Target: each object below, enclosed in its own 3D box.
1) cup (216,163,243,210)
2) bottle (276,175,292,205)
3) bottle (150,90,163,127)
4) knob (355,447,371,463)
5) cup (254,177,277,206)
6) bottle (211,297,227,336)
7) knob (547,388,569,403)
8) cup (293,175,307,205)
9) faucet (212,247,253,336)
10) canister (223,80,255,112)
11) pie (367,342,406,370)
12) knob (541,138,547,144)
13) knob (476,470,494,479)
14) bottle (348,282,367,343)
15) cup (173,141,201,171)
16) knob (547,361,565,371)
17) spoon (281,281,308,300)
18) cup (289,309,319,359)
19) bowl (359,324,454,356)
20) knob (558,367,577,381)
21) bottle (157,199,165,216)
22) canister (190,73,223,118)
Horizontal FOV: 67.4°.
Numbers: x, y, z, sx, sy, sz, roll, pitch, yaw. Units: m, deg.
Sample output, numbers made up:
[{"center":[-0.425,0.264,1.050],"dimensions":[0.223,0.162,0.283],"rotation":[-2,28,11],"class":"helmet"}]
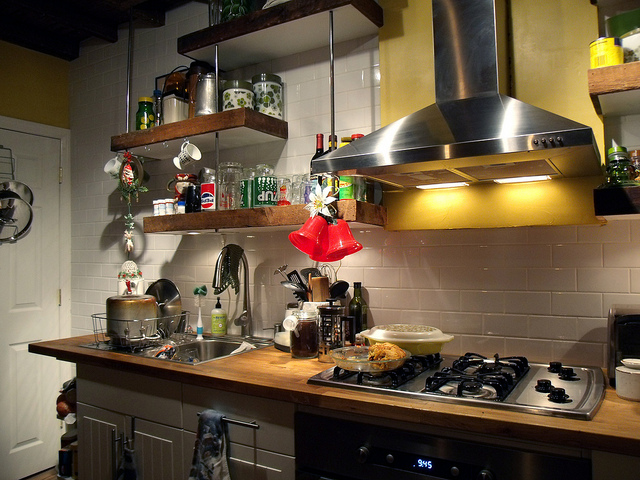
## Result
[{"center":[-0.521,-0.309,2.772],"dimensions":[0.146,0.191,0.159],"rotation":[-3,-1,0],"class":"cup"},{"center":[-0.201,-0.277,2.683],"dimensions":[0.116,0.178,0.109],"rotation":[2,6,0],"class":"bottle"},{"center":[-1.051,-0.851,3.101],"dimensions":[0.053,0.262,0.194],"rotation":[-2,-1,-20],"class":"bottle"},{"center":[0.159,0.801,1.807],"dimensions":[0.057,0.054,0.059],"rotation":[-6,1,24],"class":"knob"},{"center":[-0.315,-0.265,2.620],"dimensions":[0.154,0.163,0.151],"rotation":[0,1,0],"class":"cup"},{"center":[-0.636,0.483,2.995],"dimensions":[0.089,0.165,0.074],"rotation":[-3,-1,-11],"class":"bottle"},{"center":[0.878,0.574,1.760],"dimensions":[0.054,0.016,0.054],"rotation":[-1,3,5],"class":"knob"},{"center":[-0.104,-0.282,2.580],"dimensions":[0.063,0.128,0.195],"rotation":[-2,-1,-16],"class":"cup"},{"center":[-0.523,0.317,2.896],"dimensions":[0.157,0.395,0.254],"rotation":[-3,-1,15],"class":"faucet"},{"center":[-0.470,-0.834,2.845],"dimensions":[0.197,0.169,0.191],"rotation":[1,0,6],"class":"canister"},{"center":[0.281,0.496,2.021],"dimensions":[0.159,0.092,0.140],"rotation":[-3,-1,7],"class":"pie"},{"center":[0.799,-0.356,1.714],"dimensions":[0.019,0.018,0.006],"rotation":[-6,-4,30],"class":"knob"},{"center":[0.561,0.802,1.631],"dimensions":[0.034,0.029,0.034],"rotation":[10,-13,-44],"class":"knob"},{"center":[0.191,0.358,2.470],"dimensions":[0.102,0.252,0.369],"rotation":[-3,-1,5],"class":"bottle"},{"center":[-0.818,-0.526,2.937],"dimensions":[0.127,0.117,0.170],"rotation":[-2,-1,-45],"class":"cup"},{"center":[1.027,0.546,2.096],"dimensions":[0.043,0.012,0.042],"rotation":[-5,4,-2],"class":"knob"},{"center":[-0.140,0.255,2.564],"dimensions":[0.028,0.061,0.160],"rotation":[-39,53,-25],"class":"spoon"},{"center":[-0.082,0.478,2.427],"dimensions":[0.147,0.194,0.092],"rotation":[-3,-1,-1],"class":"cup"},{"center":[0.387,0.452,2.231],"dimensions":[0.244,0.063,0.214],"rotation":[-1,-2,41],"class":"bowl"},{"center":[1.027,0.558,2.003],"dimensions":[0.055,0.017,0.053],"rotation":[-8,6,-14],"class":"knob"},{"center":[-0.981,-0.199,2.944],"dimensions":[0.069,0.063,0.030],"rotation":[-4,-1,42],"class":"bottle"},{"center":[-0.671,-0.859,2.887],"dimensions":[0.222,0.259,0.195],"rotation":[3,8,23],"class":"canister"}]
